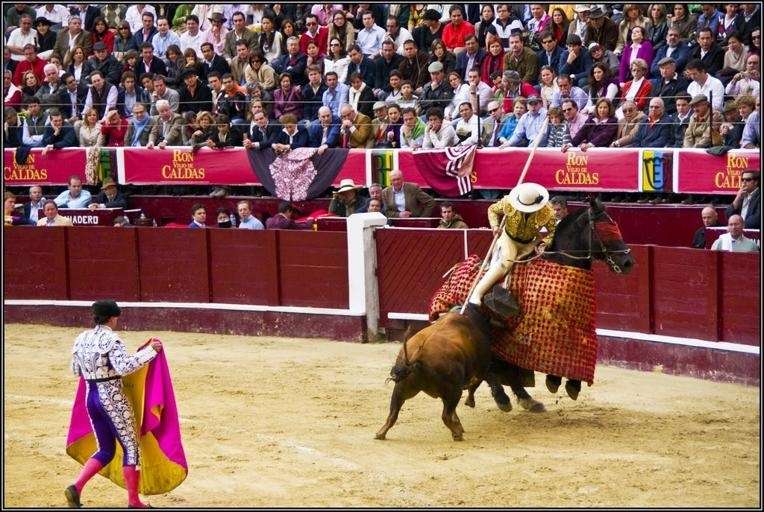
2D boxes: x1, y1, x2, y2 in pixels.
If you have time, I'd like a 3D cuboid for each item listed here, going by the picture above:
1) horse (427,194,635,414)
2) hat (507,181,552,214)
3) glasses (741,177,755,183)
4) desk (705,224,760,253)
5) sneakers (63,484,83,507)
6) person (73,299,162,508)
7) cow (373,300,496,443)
[{"bbox_3d":[2.007,0.518,16.496,1.049,2.521,3.456,-13,9,-40],"label":"horse"},{"bbox_3d":[1.875,-0.747,15.703,0.508,0.367,0.308,0,7,6],"label":"hat"},{"bbox_3d":[5.395,-1.147,18.104,0.094,0.104,0.209,-4,8,-23],"label":"glasses"},{"bbox_3d":[5.070,-0.253,17.676,0.754,0.306,0.547,1,8,14],"label":"desk"},{"bbox_3d":[-3.495,2.697,13.781,0.112,0.323,0.125,-2,34,24],"label":"sneakers"},{"bbox_3d":[-3.112,1.677,13.969,0.999,2.291,0.669,-3,7,-11],"label":"person"},{"bbox_3d":[0.738,1.481,15.327,1.546,1.604,0.611,-5,8,-29],"label":"cow"}]
